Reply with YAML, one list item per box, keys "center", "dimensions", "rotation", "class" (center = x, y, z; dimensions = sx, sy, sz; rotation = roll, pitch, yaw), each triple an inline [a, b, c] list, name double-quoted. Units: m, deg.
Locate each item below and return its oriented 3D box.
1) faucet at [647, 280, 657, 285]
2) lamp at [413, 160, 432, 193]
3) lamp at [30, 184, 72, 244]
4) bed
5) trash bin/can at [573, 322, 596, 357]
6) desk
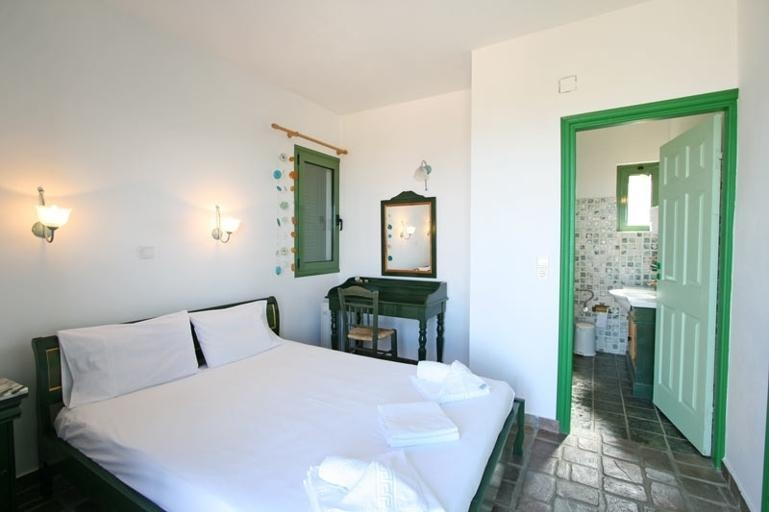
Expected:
- center: [3.141, 0.315, 5.905]
  dimensions: [0.069, 0.080, 0.224]
  rotation: [0, 2, 23]
  class: "faucet"
- center: [0.413, -0.915, 5.642]
  dimensions: [0.199, 0.364, 0.288]
  rotation: [0, 3, 17]
  class: "lamp"
- center: [-2.679, -0.321, 4.022]
  dimensions: [0.196, 0.423, 0.261]
  rotation: [1, 9, -4]
  class: "lamp"
- center: [-0.982, 1.200, 3.785]
  dimensions: [2.318, 0.985, 1.838]
  rotation: [2, 5, 34]
  class: "bed"
- center: [2.496, 1.058, 6.241]
  dimensions: [0.400, 0.351, 0.412]
  rotation: [-6, -6, 21]
  class: "trash bin/can"
- center: [0.010, 0.741, 5.705]
  dimensions: [1.202, 0.918, 0.541]
  rotation: [3, 7, 28]
  class: "desk"
